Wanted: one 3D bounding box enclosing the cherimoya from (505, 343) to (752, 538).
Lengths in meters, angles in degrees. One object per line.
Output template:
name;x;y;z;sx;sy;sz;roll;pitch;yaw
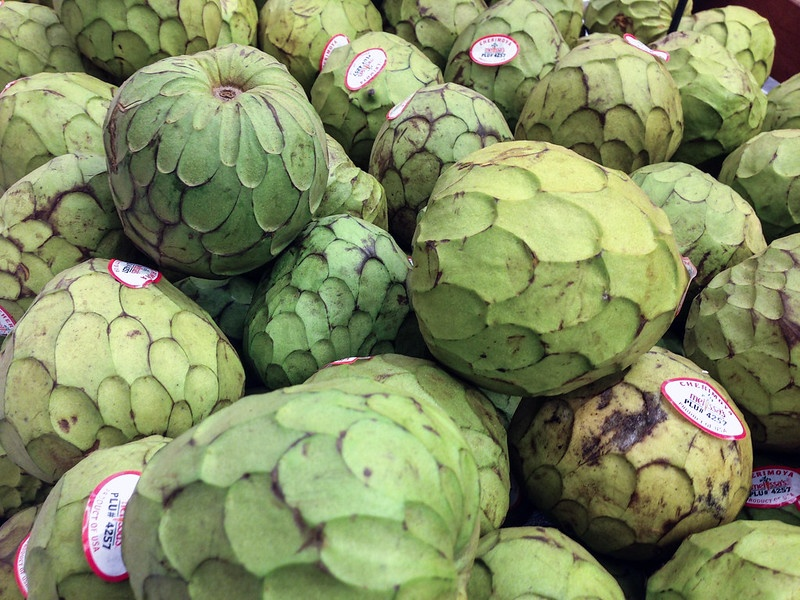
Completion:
cherimoya;0.648;0.429;2.534;0.520;0.492;0.480;6;10;-4

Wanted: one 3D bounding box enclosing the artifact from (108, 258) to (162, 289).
artifact;-0.763;-0.071;2.470;0.101;0.025;0.091;23;26;-28

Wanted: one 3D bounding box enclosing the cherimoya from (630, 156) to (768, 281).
cherimoya;0.956;-0.244;2.823;0.384;0.240;0.335;35;4;17

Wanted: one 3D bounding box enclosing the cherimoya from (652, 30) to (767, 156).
cherimoya;1.094;-0.719;3.149;0.299;0.381;0.409;-10;-3;42
